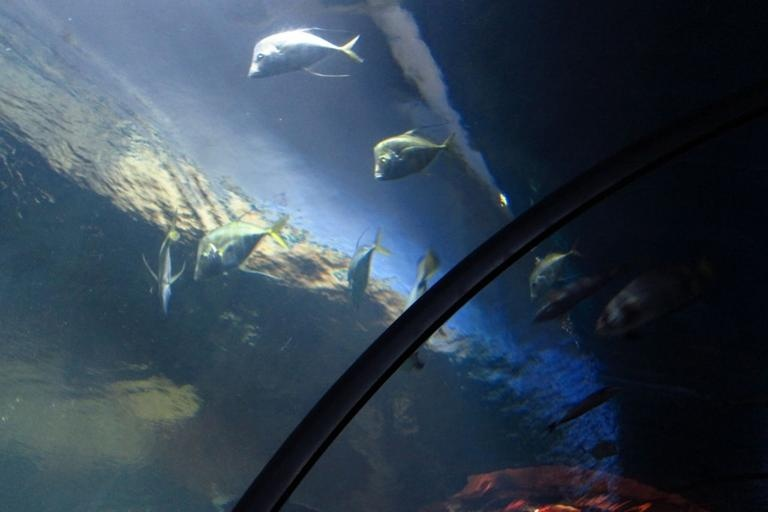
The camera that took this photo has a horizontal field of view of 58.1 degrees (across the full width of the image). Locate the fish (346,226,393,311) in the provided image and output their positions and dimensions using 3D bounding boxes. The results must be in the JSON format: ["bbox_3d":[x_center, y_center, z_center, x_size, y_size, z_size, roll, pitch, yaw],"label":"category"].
[{"bbox_3d":[-0.135,0.075,4.427,0.247,0.625,0.165,18,-9,-24],"label":"fish"}]

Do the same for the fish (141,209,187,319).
[{"bbox_3d":[-1.386,0.045,4.362,0.272,0.601,0.122,11,14,18],"label":"fish"}]

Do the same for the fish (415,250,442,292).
[{"bbox_3d":[0.271,0.085,4.280,0.138,0.233,0.046,8,13,5],"label":"fish"}]

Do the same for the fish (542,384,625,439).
[{"bbox_3d":[1.277,0.980,4.440,0.446,0.159,0.091,-32,26,-9],"label":"fish"}]

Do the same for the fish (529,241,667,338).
[{"bbox_3d":[1.202,0.155,4.275,0.577,0.419,0.179,-23,23,-6],"label":"fish"}]
